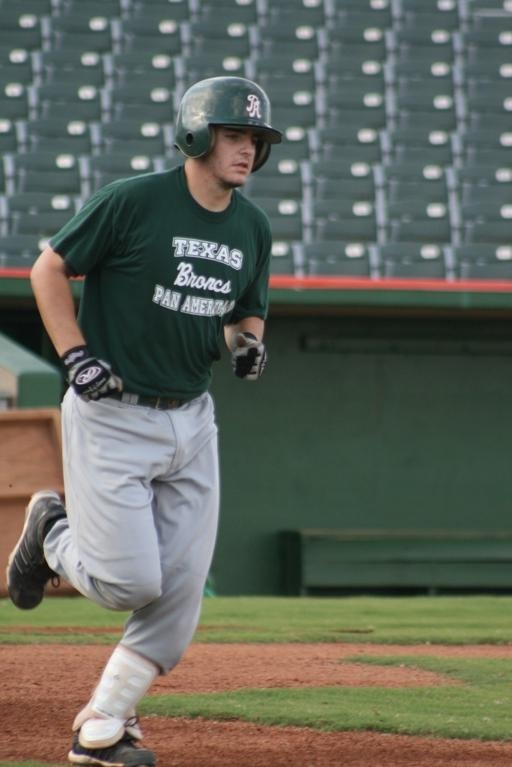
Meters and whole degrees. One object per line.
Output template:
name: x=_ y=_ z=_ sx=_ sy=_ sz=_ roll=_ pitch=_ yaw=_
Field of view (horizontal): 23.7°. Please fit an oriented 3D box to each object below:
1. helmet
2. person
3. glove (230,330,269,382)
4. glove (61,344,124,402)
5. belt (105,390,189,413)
helmet: x=-0.120 y=-0.841 z=4.019 sx=0.289 sy=0.246 sz=0.370 roll=7 pitch=-9 yaw=-44
person: x=-0.382 y=0.079 z=3.907 sx=0.574 sy=2.064 sz=1.070 roll=7 pitch=19 yaw=21
glove: x=-0.009 y=-0.088 z=4.217 sx=0.148 sy=0.143 sz=0.073 roll=-1 pitch=5 yaw=33
glove: x=-0.493 y=-0.024 z=3.665 sx=0.160 sy=0.162 sz=0.077 roll=-24 pitch=-1 yaw=-14
belt: x=-0.348 y=0.057 z=3.803 sx=0.210 sy=0.069 sz=0.023 roll=-5 pitch=18 yaw=-19
